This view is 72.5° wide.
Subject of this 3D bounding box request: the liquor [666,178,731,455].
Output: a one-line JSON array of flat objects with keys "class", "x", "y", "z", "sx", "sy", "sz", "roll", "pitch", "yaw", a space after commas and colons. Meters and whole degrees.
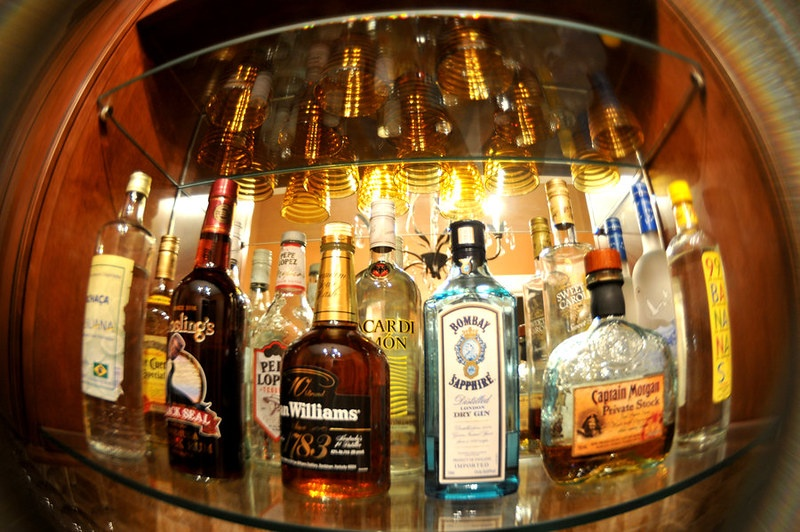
[{"class": "liquor", "x": 0.542, "y": 0.077, "z": 1.020, "sx": 0.110, "sy": 0.486, "sz": 0.110, "roll": -7, "pitch": -6, "yaw": 42}]
